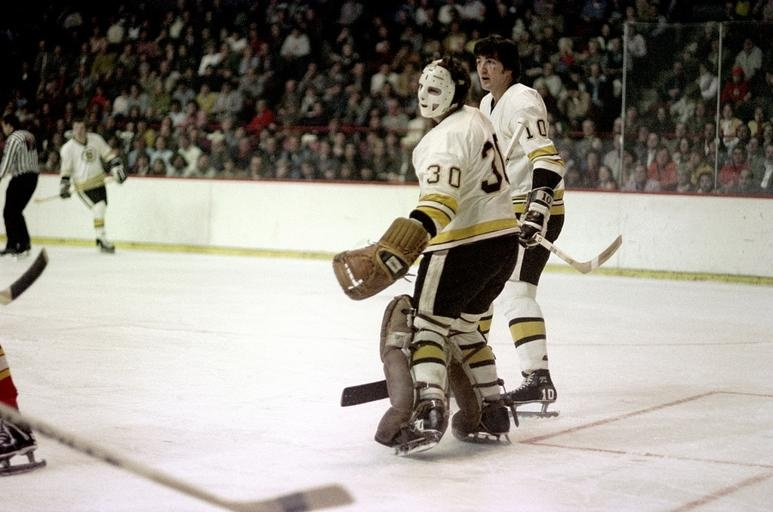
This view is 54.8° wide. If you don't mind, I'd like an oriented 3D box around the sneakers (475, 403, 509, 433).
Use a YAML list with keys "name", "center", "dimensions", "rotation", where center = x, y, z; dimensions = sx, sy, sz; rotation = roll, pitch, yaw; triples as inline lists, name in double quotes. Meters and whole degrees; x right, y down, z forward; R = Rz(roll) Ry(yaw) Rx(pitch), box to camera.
- name: "sneakers"
  center: [0.575, 0.878, 4.027]
  dimensions: [0.170, 0.162, 0.136]
  rotation: [-5, -6, 10]

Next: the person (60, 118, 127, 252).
- name: "person"
  center: [-4.643, -1.098, 11.643]
  dimensions: [0.930, 1.984, 0.881]
  rotation: [2, 9, 3]

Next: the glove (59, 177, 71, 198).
- name: "glove"
  center: [-4.987, -1.059, 11.555]
  dimensions: [0.221, 0.288, 0.097]
  rotation: [9, -11, -21]

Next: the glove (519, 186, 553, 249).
- name: "glove"
  center: [0.898, -0.227, 4.508]
  dimensions: [0.214, 0.346, 0.150]
  rotation: [19, -13, 17]

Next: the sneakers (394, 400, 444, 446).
- name: "sneakers"
  center: [0.190, 0.835, 3.816]
  dimensions: [0.247, 0.109, 0.246]
  rotation: [-5, 2, -28]

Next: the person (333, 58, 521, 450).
- name: "person"
  center: [0.234, -0.001, 3.801]
  dimensions: [0.989, 2.032, 0.442]
  rotation: [-5, 11, -33]
